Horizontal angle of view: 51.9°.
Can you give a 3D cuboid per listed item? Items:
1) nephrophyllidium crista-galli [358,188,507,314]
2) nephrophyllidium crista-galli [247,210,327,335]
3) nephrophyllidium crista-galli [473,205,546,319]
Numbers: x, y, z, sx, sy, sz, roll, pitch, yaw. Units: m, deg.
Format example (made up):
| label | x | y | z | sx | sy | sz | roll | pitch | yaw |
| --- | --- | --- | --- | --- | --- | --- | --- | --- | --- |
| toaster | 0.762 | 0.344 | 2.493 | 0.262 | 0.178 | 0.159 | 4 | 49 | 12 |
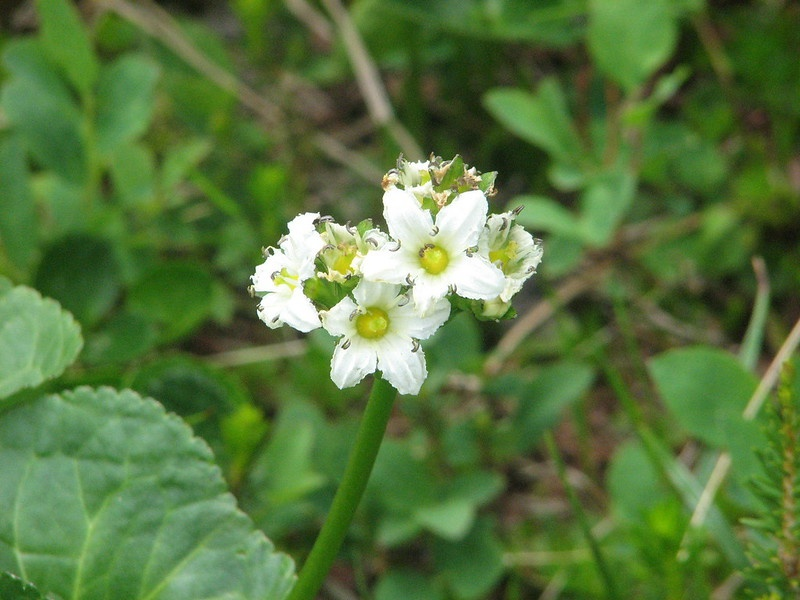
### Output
| label | x | y | z | sx | sy | sz | roll | pitch | yaw |
| --- | --- | --- | --- | --- | --- | --- | --- | --- | --- |
| nephrophyllidium crista-galli | 0.084 | -0.113 | 1.993 | 0.346 | 0.077 | 0.303 | 2 | 82 | 0 |
| nephrophyllidium crista-galli | -0.280 | -0.064 | 2.115 | 0.202 | 0.299 | 0.324 | 3 | 81 | 2 |
| nephrophyllidium crista-galli | 0.271 | -0.083 | 2.038 | 0.200 | 0.099 | 0.249 | -8 | 88 | -8 |
